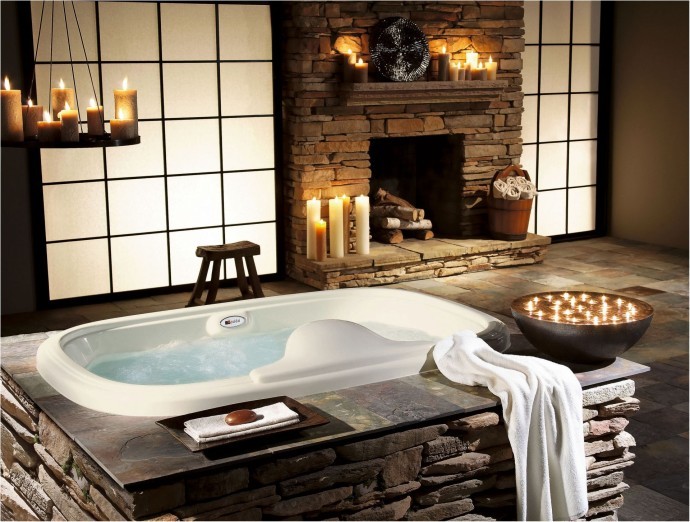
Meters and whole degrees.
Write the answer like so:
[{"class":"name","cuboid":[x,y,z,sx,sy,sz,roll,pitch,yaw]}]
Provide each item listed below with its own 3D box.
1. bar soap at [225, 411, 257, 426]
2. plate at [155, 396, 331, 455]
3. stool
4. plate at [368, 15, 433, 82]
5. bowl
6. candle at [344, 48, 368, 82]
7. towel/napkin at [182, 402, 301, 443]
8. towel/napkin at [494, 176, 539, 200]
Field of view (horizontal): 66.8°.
[{"class":"bar soap","cuboid":[-0.277,0.419,1.404,0.055,0.017,0.038,-4,9,-22]},{"class":"plate","cuboid":[-0.242,0.446,1.407,0.252,0.021,0.177,-6,12,-31]},{"class":"stool","cuboid":[-0.911,0.095,3.895,0.558,0.413,0.284,-7,14,-32]},{"class":"plate","cuboid":[0.466,-1.852,4.574,0.693,0.542,0.129,-5,0,-27]},{"class":"bowl","cuboid":[0.976,0.261,2.157,0.563,0.160,0.486,-3,13,2]},{"class":"candle","cuboid":[0.098,-1.659,4.454,0.207,0.287,0.247,-1,10,0]},{"class":"towel/napkin","cuboid":[-0.269,0.439,1.405,0.211,0.023,0.114,-6,11,-30]},{"class":"towel/napkin","cuboid":[1.591,-0.690,4.916,0.328,0.090,0.270,11,28,27]}]
